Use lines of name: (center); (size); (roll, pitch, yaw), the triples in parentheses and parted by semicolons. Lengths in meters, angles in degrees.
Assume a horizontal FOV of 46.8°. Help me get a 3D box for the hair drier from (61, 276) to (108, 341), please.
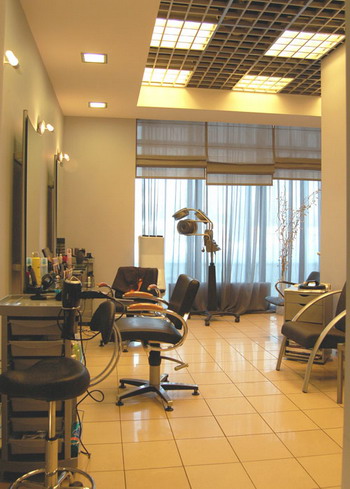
hair drier: (-0.399, 0.267, 1.790); (0.154, 0.277, 0.184); (2, 4, -11)

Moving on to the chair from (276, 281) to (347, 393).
chair: (1.112, 0.766, 3.280); (0.596, 0.897, 0.667); (4, 5, -6)

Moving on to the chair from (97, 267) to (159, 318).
chair: (-0.457, 0.468, 4.314); (0.407, 0.553, 0.415); (0, -1, 10)
